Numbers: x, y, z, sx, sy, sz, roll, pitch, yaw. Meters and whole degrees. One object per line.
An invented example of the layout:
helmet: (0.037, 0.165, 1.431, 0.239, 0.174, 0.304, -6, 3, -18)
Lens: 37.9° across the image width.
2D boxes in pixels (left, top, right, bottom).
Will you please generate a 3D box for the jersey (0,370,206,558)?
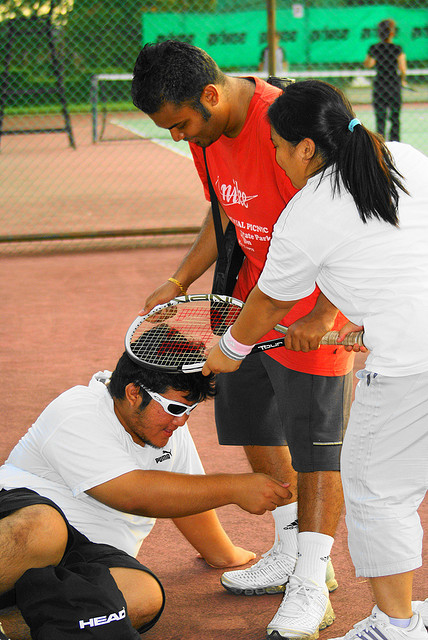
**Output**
jersey: (-0.404, 0.494, 2.088, 0.488, 0.579, 0.551, 3, 17, 18)

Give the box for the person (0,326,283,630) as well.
person: (-0.189, 0.550, 2.052, 0.525, 0.557, 0.830, 20, -7, 24)

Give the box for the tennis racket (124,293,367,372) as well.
tennis racket: (0.107, 0.044, 1.973, 0.632, 0.053, 0.241, 2, 26, 32)

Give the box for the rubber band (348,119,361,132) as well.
rubber band: (0.333, -0.470, 1.486, 0.033, 0.034, 0.014, -1, -3, -3)

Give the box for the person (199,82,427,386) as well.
person: (0.294, -0.217, 1.633, 0.595, 0.789, 0.356, 10, 22, 36)
